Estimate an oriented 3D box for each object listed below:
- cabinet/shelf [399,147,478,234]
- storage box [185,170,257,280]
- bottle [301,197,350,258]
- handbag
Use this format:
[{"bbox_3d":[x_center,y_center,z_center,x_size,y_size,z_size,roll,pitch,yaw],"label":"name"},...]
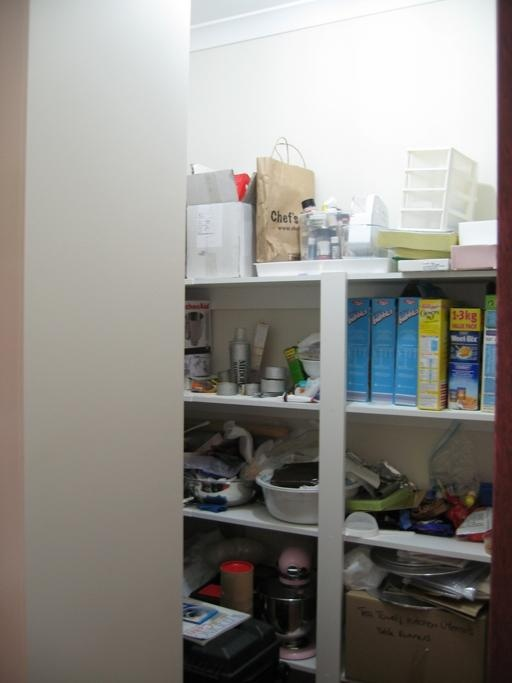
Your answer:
[{"bbox_3d":[0.497,-0.414,1.558,0.193,0.245,0.215,2,5,21],"label":"cabinet/shelf"},{"bbox_3d":[-0.117,-0.361,1.790,0.218,0.332,0.131,0,5,-3],"label":"storage box"},{"bbox_3d":[0.194,-0.320,1.657,0.145,0.204,0.149,0,4,0],"label":"bottle"},{"bbox_3d":[0.094,-0.394,1.774,0.261,0.305,0.088,-4,6,-41],"label":"handbag"}]
